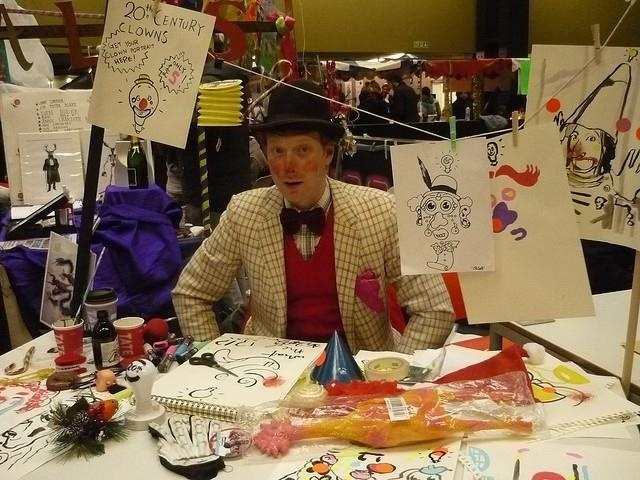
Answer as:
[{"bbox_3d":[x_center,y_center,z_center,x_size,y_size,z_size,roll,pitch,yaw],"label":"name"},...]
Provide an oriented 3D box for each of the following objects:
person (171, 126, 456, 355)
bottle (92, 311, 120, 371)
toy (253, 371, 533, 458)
[{"bbox_3d":[0.046,0.259,2.369,1.368,1.251,0.844,1,18,11],"label":"person"},{"bbox_3d":[-0.730,0.344,1.604,0.088,0.193,0.090,3,20,-1],"label":"bottle"},{"bbox_3d":[0.193,0.452,1.203,0.713,0.109,0.266,-3,10,-7],"label":"toy"}]
